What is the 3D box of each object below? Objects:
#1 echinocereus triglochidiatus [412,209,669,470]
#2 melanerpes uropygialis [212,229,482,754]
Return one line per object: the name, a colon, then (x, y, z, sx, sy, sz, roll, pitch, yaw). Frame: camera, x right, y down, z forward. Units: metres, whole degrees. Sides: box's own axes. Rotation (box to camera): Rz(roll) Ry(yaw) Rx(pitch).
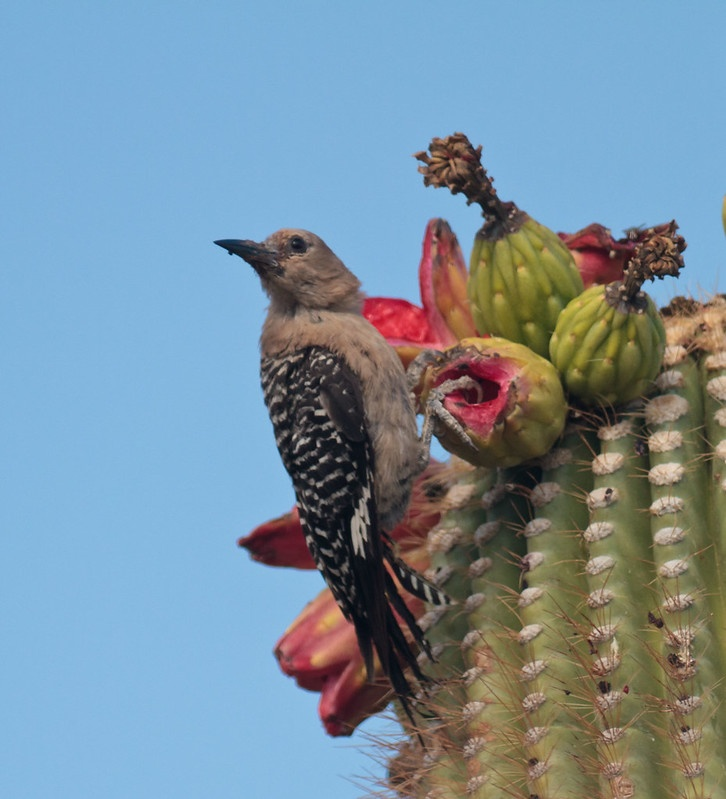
echinocereus triglochidiatus: (0.468, -0.211, 5.799, 0.457, 0.724, 0.374, -2, 5, 27)
melanerpes uropygialis: (0.018, 0.198, 6.364, 0.600, 1.417, 0.364, -2, 7, 4)
